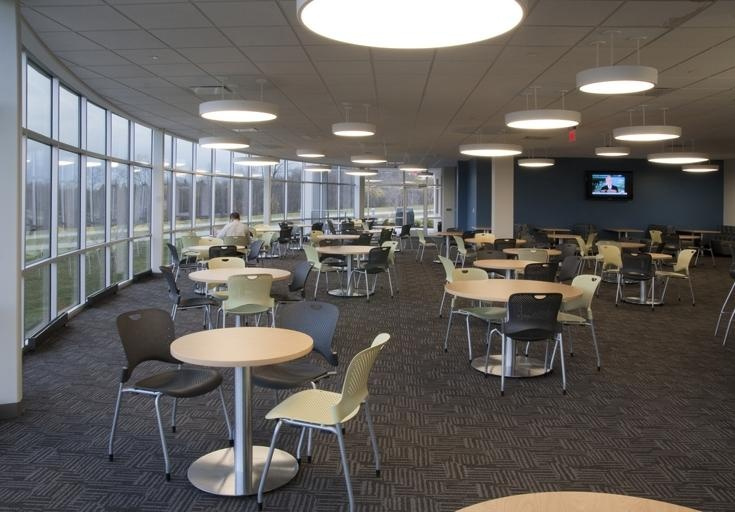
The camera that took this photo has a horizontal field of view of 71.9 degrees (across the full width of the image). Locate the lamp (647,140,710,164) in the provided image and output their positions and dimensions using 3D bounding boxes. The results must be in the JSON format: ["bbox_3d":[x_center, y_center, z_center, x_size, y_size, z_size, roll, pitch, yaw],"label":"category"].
[{"bbox_3d":[8.346,-2.796,13.534,1.559,0.383,1.426,1,5,9],"label":"lamp"}]

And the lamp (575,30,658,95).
[{"bbox_3d":[2.931,-2.303,6.010,0.900,0.533,0.861,15,32,29],"label":"lamp"}]

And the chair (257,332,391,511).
[{"bbox_3d":[-0.331,1.179,3.912,0.975,1.216,0.981,0,8,3],"label":"chair"}]

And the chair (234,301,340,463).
[{"bbox_3d":[-0.660,0.970,4.326,0.907,0.969,0.835,-1,7,1],"label":"chair"}]

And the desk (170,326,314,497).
[{"bbox_3d":[-0.836,1.160,4.120,1.383,0.981,1.223,-1,8,-9],"label":"desk"}]

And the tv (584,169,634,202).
[{"bbox_3d":[8.811,-2.599,18.472,1.352,0.733,0.162,1,0,1],"label":"tv"}]

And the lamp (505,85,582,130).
[{"bbox_3d":[2.627,-2.250,7.585,1.142,0.451,1.007,-3,20,-6],"label":"lamp"}]

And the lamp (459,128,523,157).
[{"bbox_3d":[2.960,-2.740,12.118,1.405,0.411,1.261,-2,6,-10],"label":"lamp"}]
